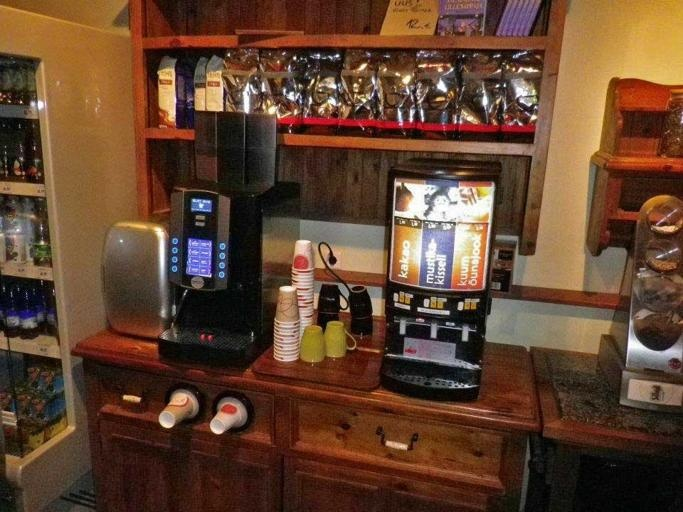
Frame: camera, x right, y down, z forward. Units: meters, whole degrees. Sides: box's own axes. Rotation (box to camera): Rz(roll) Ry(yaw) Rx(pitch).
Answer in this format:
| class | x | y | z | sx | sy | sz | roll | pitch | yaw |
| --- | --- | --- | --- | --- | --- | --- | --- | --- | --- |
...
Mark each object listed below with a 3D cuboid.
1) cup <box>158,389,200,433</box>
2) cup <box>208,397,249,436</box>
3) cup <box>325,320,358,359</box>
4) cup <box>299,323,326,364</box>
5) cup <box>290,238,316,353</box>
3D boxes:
| class | x | y | z | sx | sy | sz | roll | pitch | yaw |
| --- | --- | --- | --- | --- | --- | --- | --- | --- | --- |
| cup | -0.569 | 0.522 | 1.960 | 0.117 | 0.114 | 0.106 | -12 | 43 | 35 |
| cup | -0.387 | 0.571 | 1.925 | 0.122 | 0.150 | 0.121 | 1 | 11 | 0 |
| cup | 0.001 | 0.319 | 2.086 | 0.137 | 0.108 | 0.083 | 14 | -17 | -28 |
| cup | -0.102 | 0.321 | 2.068 | 0.124 | 0.117 | 0.109 | 1 | 5 | -22 |
| cup | -0.145 | 0.140 | 2.177 | 0.104 | 0.380 | 0.097 | 1 | 23 | 0 |
